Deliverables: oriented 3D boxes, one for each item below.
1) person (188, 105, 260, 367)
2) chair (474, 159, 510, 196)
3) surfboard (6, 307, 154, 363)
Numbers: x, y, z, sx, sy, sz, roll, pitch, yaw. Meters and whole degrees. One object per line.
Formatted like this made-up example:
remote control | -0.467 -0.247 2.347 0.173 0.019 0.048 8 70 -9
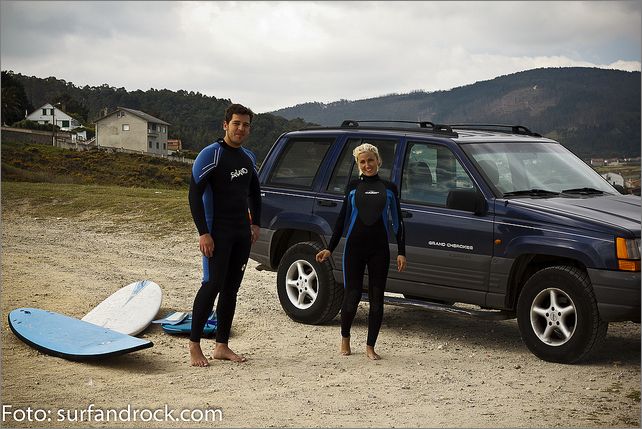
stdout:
person | -1.200 0.261 6.583 0.796 3.172 0.401 -1 7 -23
chair | 2.283 -0.542 7.233 0.450 0.520 0.429 6 8 35
surfboard | -3.246 1.576 6.953 2.493 0.300 0.753 8 11 37
